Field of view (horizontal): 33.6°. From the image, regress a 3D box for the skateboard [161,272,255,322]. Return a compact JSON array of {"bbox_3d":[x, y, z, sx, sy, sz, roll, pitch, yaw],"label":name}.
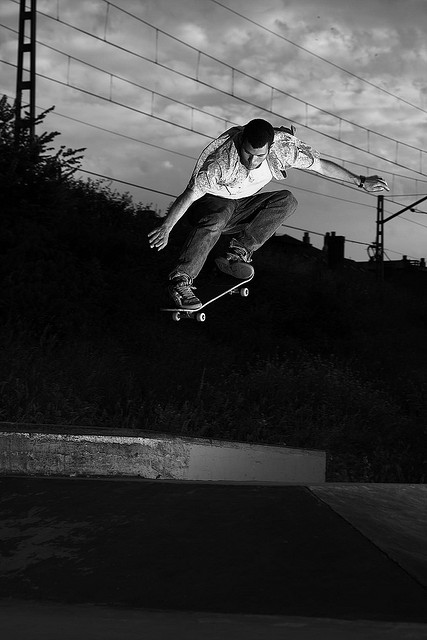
[{"bbox_3d":[0.014,-0.193,6.056,0.307,0.202,1.286,21,30,29],"label":"skateboard"}]
